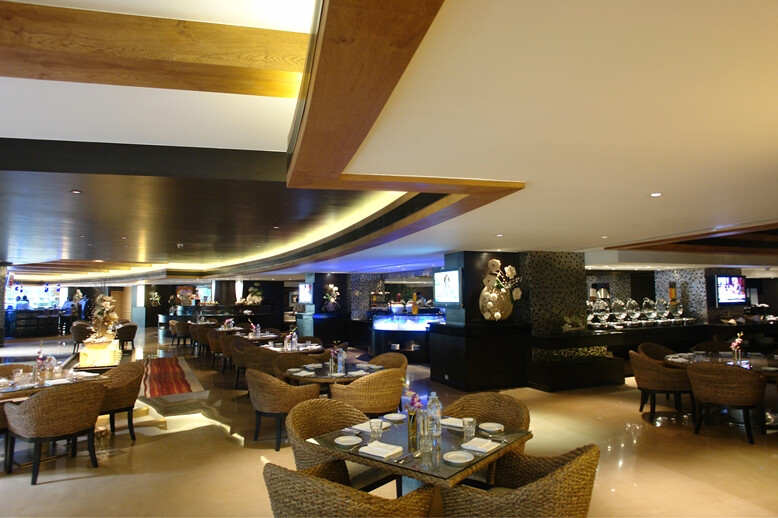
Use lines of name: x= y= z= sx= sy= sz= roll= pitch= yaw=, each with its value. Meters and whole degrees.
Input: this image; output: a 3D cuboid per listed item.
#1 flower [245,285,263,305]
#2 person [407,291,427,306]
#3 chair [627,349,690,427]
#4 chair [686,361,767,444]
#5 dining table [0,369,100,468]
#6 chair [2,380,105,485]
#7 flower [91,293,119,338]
flower: x=-5.857 y=1.603 z=21.884 sx=1.114 sy=0.529 sz=0.796 roll=17 pitch=-8 yaw=10
person: x=0.918 y=1.351 z=16.664 sx=0.609 sy=0.519 sz=0.996 roll=7 pitch=-2 yaw=9
chair: x=3.913 y=1.982 z=7.800 sx=1.155 sy=1.037 sz=1.066 roll=-3 pitch=-3 yaw=7
chair: x=4.708 y=1.859 z=6.864 sx=1.179 sy=1.081 sz=1.017 roll=2 pitch=-3 yaw=-39
dining table: x=-3.735 y=1.748 z=5.937 sx=1.152 sy=1.106 sz=1.035 roll=-1 pitch=-5 yaw=34
chair: x=-3.752 y=1.911 z=5.906 sx=1.171 sy=1.137 sz=1.065 roll=-4 pitch=-7 yaw=36
flower: x=-5.313 y=1.065 z=9.202 sx=0.392 sy=0.816 sz=0.873 roll=0 pitch=-4 yaw=-29
